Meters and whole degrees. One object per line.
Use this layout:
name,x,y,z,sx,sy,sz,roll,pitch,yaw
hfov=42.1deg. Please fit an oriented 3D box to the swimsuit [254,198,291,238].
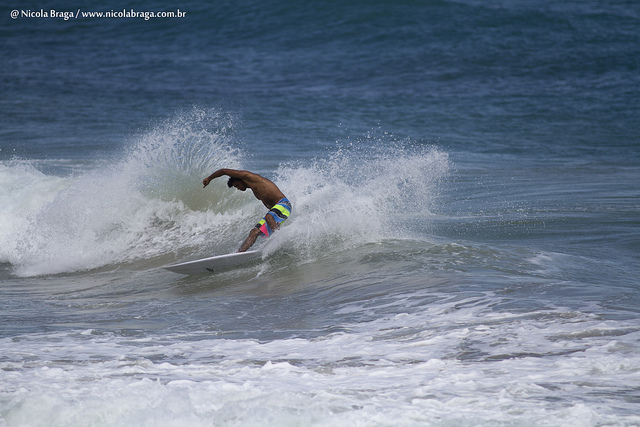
swimsuit,-1.040,0.138,18.400,0.406,0.888,0.815,17,25,36
